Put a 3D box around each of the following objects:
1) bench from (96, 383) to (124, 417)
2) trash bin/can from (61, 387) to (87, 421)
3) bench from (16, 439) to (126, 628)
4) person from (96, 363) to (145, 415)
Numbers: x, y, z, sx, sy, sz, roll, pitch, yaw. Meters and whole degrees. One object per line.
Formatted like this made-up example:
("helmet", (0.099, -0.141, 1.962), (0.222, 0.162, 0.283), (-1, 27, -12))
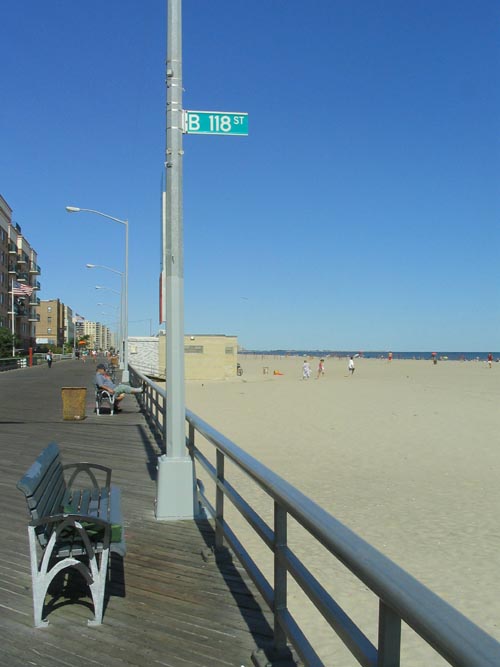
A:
("bench", (-3.722, 1.718, 15.067), (0.650, 0.780, 0.952), (-2, 2, -16))
("trash bin/can", (-4.166, 1.651, 13.659), (0.753, 1.052, 0.696), (1, -6, -12))
("bench", (-1.208, 1.365, 3.909), (0.376, 0.618, 1.259), (-1, 1, -13))
("person", (-3.504, 1.357, 15.252), (1.063, 1.470, 0.735), (-14, -13, -1))
